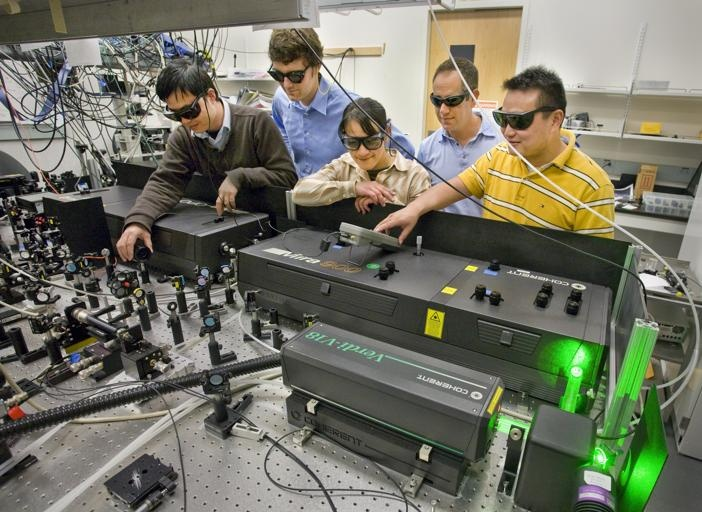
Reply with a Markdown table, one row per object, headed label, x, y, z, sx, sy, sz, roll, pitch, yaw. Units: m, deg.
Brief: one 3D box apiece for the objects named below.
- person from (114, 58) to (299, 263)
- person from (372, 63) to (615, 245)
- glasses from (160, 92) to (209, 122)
| label | x | y | z | sx | sy | sz | roll | pitch | yaw |
| --- | --- | --- | --- | --- | --- | --- | --- | --- | --- |
| person | -0.724 | -0.537 | 2.392 | 0.867 | 0.943 | 0.630 | -2 | 18 | -8 |
| person | 0.750 | -0.458 | 1.992 | 0.829 | 0.734 | 0.661 | 9 | 20 | 24 |
| glasses | -0.821 | -0.787 | 2.253 | 0.145 | 0.049 | 0.152 | -3 | 46 | 33 |
